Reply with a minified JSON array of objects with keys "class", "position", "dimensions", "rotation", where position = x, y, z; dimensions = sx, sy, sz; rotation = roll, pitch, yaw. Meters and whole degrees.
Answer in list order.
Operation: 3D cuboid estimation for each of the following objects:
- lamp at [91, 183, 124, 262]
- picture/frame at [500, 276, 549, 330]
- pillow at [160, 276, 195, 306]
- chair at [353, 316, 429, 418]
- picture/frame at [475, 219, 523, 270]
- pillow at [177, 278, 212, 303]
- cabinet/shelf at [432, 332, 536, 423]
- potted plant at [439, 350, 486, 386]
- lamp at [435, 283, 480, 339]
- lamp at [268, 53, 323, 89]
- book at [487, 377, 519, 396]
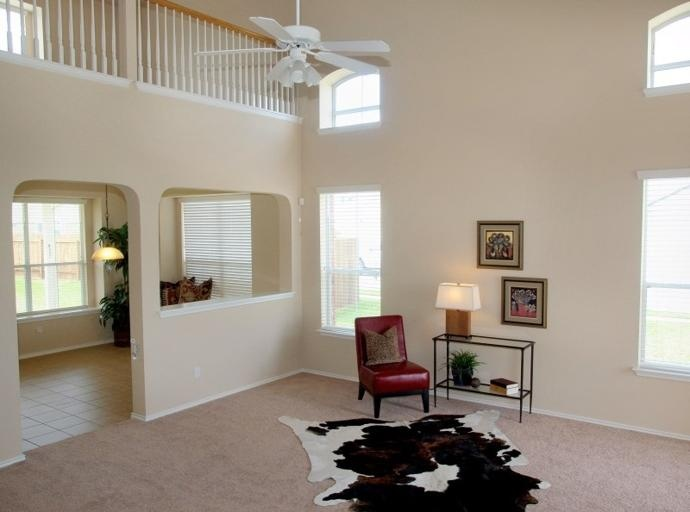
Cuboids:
[{"class":"lamp","position":[-4.277,-0.497,9.094],"dimensions":[0.480,1.107,0.420],"rotation":[2,9,-7]},{"class":"picture/frame","position":[2.428,0.618,6.748],"dimensions":[0.682,0.797,0.062],"rotation":[2,2,31]},{"class":"pillow","position":[-3.212,0.645,10.111],"dimensions":[0.700,0.680,0.593],"rotation":[4,2,22]},{"class":"chair","position":[0.672,1.492,7.003],"dimensions":[0.928,1.156,0.887],"rotation":[-2,8,-10]},{"class":"picture/frame","position":[2.130,-0.158,6.874],"dimensions":[0.648,0.731,0.059],"rotation":[2,1,30]},{"class":"pillow","position":[-2.868,0.686,9.645],"dimensions":[0.455,0.408,0.123],"rotation":[0,-16,-6]},{"class":"cabinet/shelf","position":[1.869,1.637,6.911],"dimensions":[1.242,0.954,0.483],"rotation":[0,0,34]},{"class":"potted plant","position":[1.641,1.538,7.068],"dimensions":[0.454,0.445,0.455],"rotation":[2,-5,-20]},{"class":"lamp","position":[1.569,0.747,6.907],"dimensions":[0.715,0.938,0.392],"rotation":[2,4,29]},{"class":"lamp","position":[-0.457,-1.760,4.896],"dimensions":[0.377,0.181,0.369],"rotation":[-2,2,-39]},{"class":"book","position":[2.127,1.726,6.694],"dimensions":[0.215,0.148,0.303],"rotation":[-12,8,-24]}]
